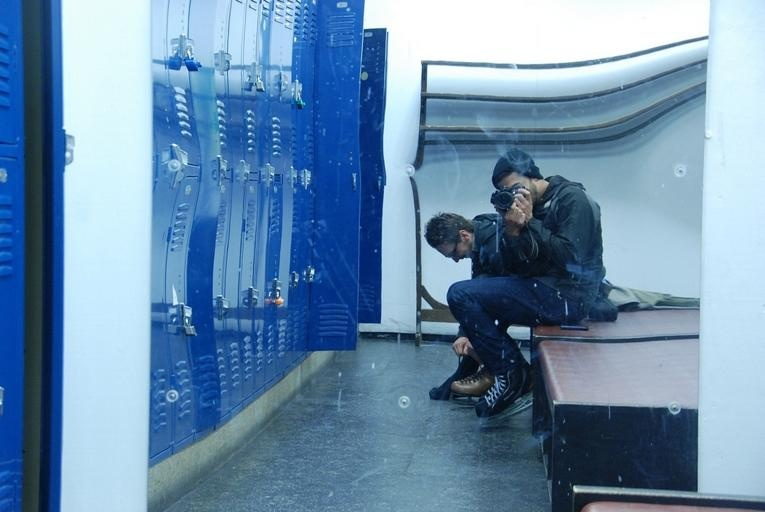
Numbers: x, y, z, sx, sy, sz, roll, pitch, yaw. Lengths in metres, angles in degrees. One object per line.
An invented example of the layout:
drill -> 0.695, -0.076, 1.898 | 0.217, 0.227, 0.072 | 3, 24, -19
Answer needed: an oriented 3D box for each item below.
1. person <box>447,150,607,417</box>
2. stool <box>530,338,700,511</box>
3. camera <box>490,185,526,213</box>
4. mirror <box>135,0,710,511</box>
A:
person -> 0.602, 0.111, 2.807 | 0.624, 1.080, 0.442 | 4, -3, 2
stool -> 0.826, 0.574, 2.484 | 0.518, 0.368, 0.728 | 1, 10, 9
camera -> 0.485, -0.232, 2.687 | 0.103, 0.104, 0.039 | 0, 15, 8
mirror -> 0.224, 0.078, 2.979 | 1.874, 1.544, 1.969 | 2, 10, 8
